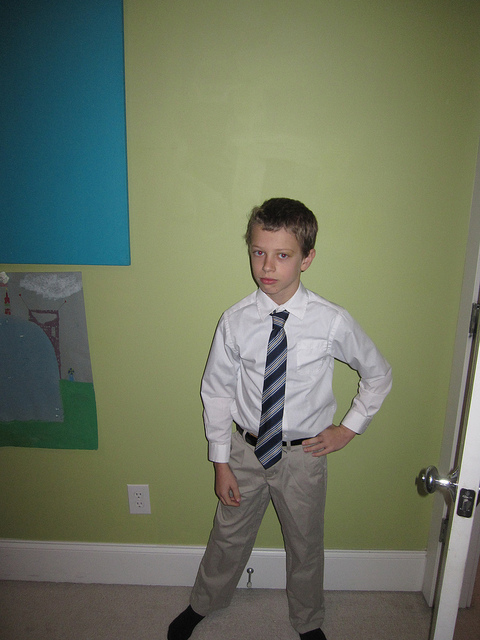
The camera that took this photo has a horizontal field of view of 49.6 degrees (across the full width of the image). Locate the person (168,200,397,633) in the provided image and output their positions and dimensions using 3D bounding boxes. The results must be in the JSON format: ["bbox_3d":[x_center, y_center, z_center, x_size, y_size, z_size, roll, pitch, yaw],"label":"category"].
[{"bbox_3d":[0.132,0.313,1.541,0.583,1.304,0.261,5,12,4],"label":"person"}]

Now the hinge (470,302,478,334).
[{"bbox_3d":[0.670,-0.002,1.480,0.014,0.095,0.043,5,12,5],"label":"hinge"}]

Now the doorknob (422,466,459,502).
[{"bbox_3d":[0.427,0.339,1.100,0.066,0.094,0.066,1,24,21],"label":"doorknob"}]

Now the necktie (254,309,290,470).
[{"bbox_3d":[0.101,0.185,1.449,0.075,0.502,0.034,-8,-36,21],"label":"necktie"}]
